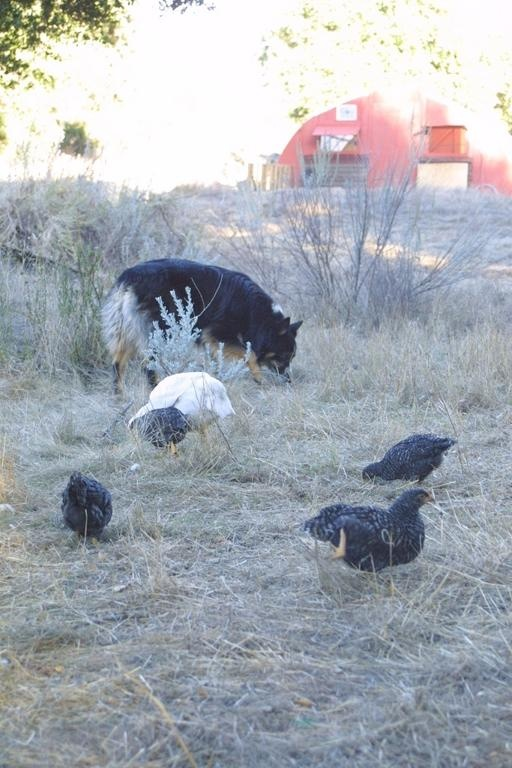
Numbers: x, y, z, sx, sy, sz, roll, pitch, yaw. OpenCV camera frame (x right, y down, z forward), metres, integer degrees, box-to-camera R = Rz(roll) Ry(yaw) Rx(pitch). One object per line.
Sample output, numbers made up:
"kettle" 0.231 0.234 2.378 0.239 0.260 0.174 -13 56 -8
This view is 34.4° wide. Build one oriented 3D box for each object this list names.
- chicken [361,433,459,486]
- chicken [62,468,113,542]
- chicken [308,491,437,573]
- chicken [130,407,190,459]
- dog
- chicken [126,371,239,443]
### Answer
"chicken" 0.726 0.346 3.924 0.409 0.270 0.287 -2 13 -14
"chicken" -0.682 0.496 3.343 0.202 0.316 0.391 5 2 3
"chicken" 0.417 0.527 2.928 0.460 0.272 0.211 -4 14 -14
"chicken" -0.519 0.236 4.525 0.291 0.239 0.366 -8 13 -29
"dog" -0.644 -0.486 6.823 1.674 1.093 1.352 -3 17 -32
"chicken" -0.407 0.128 4.757 0.684 0.426 0.517 4 12 15
